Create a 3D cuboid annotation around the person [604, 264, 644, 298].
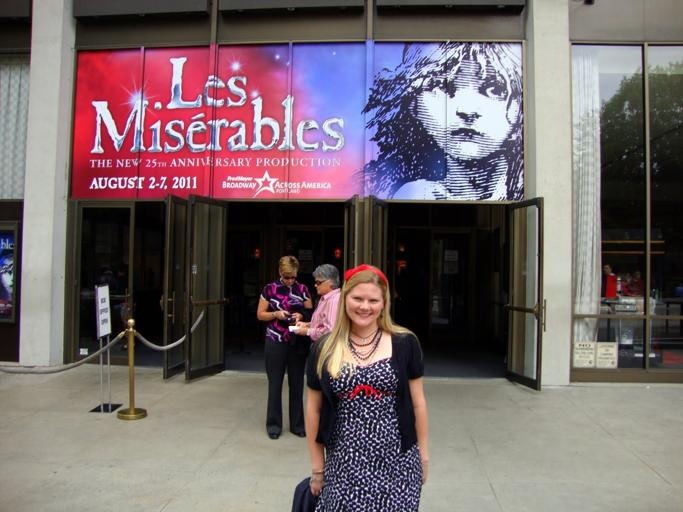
[{"bbox_3d":[4.588,0.417,10.089,0.768,0.664,0.457,1,2,8],"label":"person"}]
